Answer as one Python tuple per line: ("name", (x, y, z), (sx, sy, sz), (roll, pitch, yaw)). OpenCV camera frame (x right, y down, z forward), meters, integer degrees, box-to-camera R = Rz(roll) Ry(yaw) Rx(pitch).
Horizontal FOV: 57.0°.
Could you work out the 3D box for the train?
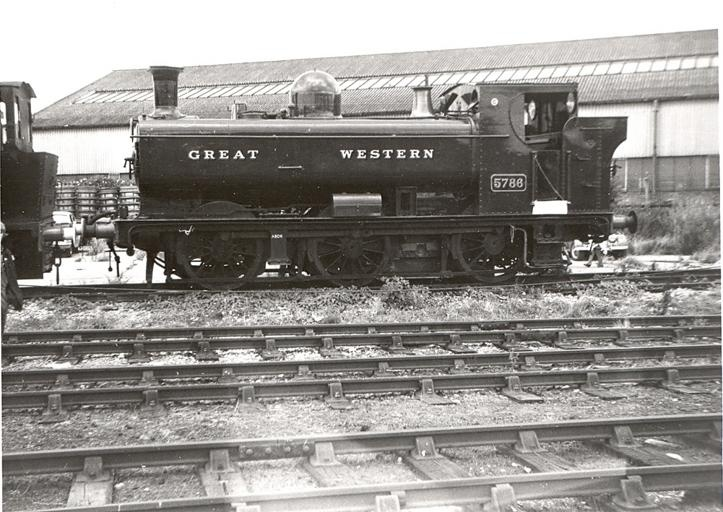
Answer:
("train", (1.801, -1.378, 17.626), (18.602, 7.204, 5.189), (0, 0, -3))
